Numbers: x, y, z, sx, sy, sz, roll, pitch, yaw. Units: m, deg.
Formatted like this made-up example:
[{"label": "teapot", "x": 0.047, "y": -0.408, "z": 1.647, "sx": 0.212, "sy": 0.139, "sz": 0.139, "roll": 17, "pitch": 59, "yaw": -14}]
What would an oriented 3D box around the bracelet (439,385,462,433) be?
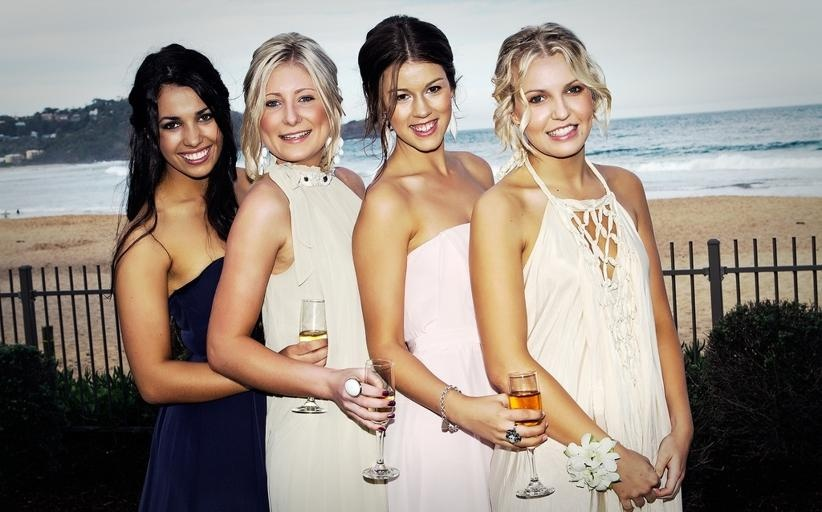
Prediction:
[{"label": "bracelet", "x": 0.342, "y": 1.482, "z": 7.017, "sx": 0.102, "sy": 0.418, "sz": 0.298, "roll": -7, "pitch": 8, "yaw": -32}]
